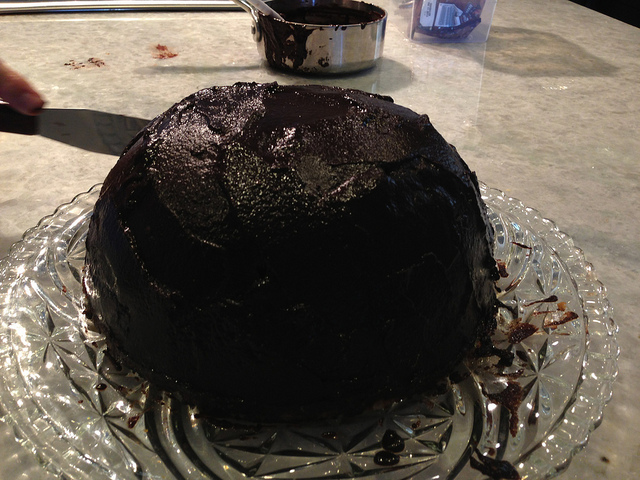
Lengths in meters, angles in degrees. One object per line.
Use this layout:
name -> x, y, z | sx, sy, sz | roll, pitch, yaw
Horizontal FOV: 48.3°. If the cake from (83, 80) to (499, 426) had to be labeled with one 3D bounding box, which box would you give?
cake -> -0.082, -0.072, 1.880 | 1.054, 0.560, 1.021 | 14, 37, 15
